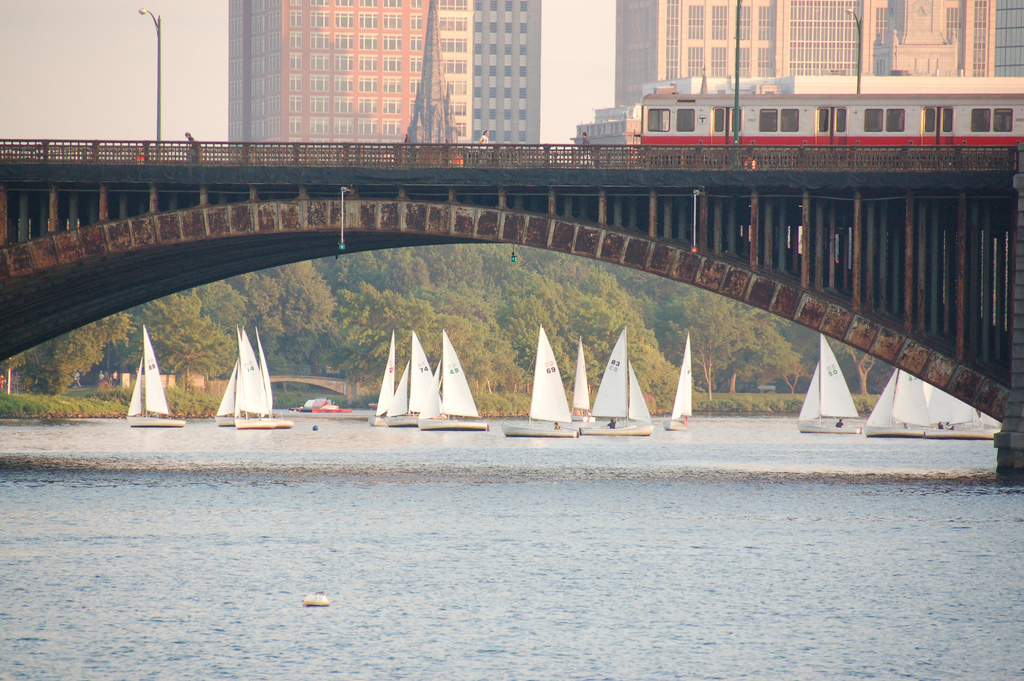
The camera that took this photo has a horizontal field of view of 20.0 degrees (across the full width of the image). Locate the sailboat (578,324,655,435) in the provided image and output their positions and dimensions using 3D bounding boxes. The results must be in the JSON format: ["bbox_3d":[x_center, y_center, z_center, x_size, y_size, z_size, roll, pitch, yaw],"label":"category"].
[{"bbox_3d":[9.240,5.218,248.401,9.177,10.488,5.013,1,-1,-18],"label":"sailboat"}]

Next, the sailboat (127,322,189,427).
[{"bbox_3d":[-31.871,2.600,259.626,5.038,9.985,4.201,-6,-6,43],"label":"sailboat"}]

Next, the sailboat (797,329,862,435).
[{"bbox_3d":[28.313,5.097,258.380,6.813,10.812,4.155,0,-3,-14],"label":"sailboat"}]

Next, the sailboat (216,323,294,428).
[{"bbox_3d":[-23.113,3.678,259.715,5.369,8.719,11.613,0,3,-6],"label":"sailboat"}]
